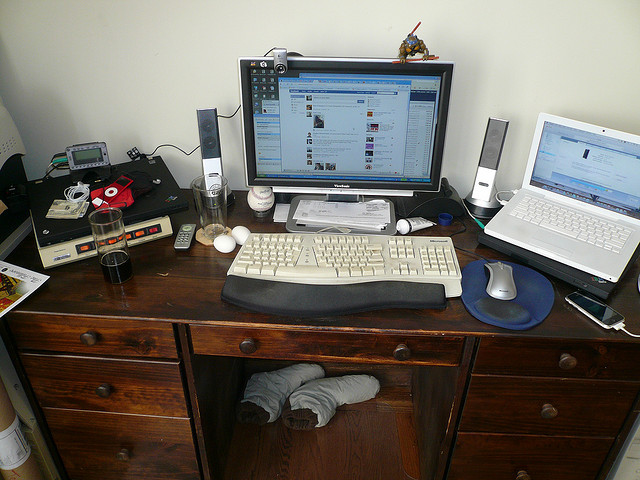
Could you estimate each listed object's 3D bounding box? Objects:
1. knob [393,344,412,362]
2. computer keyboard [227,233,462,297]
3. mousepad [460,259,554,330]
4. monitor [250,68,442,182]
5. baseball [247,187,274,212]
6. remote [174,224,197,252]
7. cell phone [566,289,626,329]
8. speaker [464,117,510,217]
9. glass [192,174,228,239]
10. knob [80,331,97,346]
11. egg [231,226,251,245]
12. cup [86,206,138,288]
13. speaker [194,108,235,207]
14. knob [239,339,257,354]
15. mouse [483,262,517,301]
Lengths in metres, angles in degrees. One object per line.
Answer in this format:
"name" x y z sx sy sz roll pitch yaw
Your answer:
"knob" 0.241 0.329 1.478 0.047 0.043 0.023 10 27 5
"computer keyboard" 0.082 0.066 1.629 0.718 0.089 0.274 0 34 4
"mousepad" 0.567 0.159 1.536 0.277 0.071 0.278 11 29 17
"monitor" 0.080 -0.386 1.708 0.629 0.381 0.042 2 29 1
"baseball" -0.214 -0.152 1.845 0.093 0.081 0.080 -12 29 -31
"remote" -0.463 -0.010 1.706 0.045 0.022 0.095 1 48 1
"cell phone" 0.812 0.207 1.481 0.102 0.019 0.169 -17 41 -29
"speaker" 0.612 -0.265 1.830 0.170 0.353 0.154 -11 34 -15
"glass" -0.384 -0.112 1.746 0.142 0.208 0.141 -21 43 -26
"knob" -0.692 0.294 1.497 0.044 0.041 0.031 14 -2 -7
"egg" -0.270 -0.014 1.690 0.066 0.046 0.048 4 15 27
"cup" -0.655 0.012 1.593 0.126 0.194 0.205 -11 31 -22
"speaker" -0.405 -0.312 1.827 0.133 0.327 0.120 -14 25 -29
"knob" -0.217 0.315 1.490 0.045 0.042 0.032 15 15 -7
"mouse" 0.561 0.116 1.557 0.100 0.043 0.174 7 45 6
